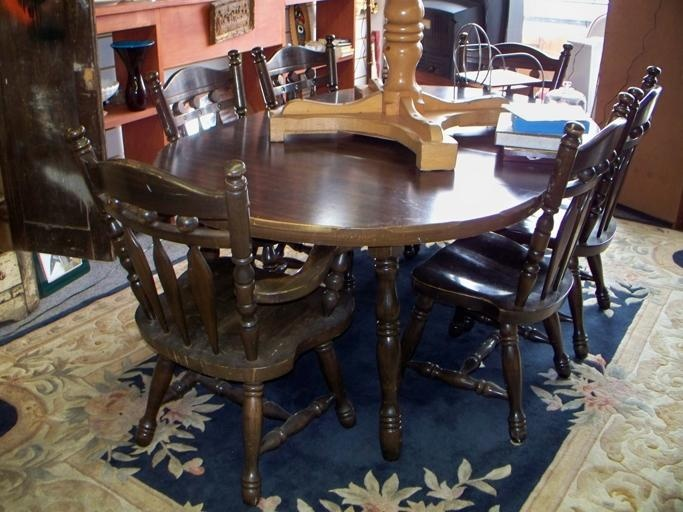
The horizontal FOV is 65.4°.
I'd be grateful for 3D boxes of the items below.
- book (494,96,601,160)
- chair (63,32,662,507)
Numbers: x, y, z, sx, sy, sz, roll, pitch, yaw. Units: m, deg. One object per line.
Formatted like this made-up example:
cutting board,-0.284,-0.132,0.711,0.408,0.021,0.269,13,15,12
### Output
book,0.664,-0.449,1.840,0.310,0.071,0.287,-18,32,-25
chair,-0.005,-0.065,1.889,1.284,0.736,1.398,11,29,18
